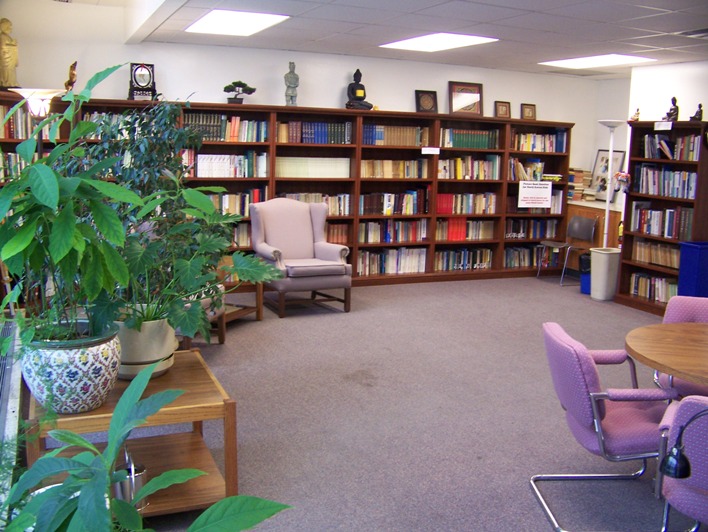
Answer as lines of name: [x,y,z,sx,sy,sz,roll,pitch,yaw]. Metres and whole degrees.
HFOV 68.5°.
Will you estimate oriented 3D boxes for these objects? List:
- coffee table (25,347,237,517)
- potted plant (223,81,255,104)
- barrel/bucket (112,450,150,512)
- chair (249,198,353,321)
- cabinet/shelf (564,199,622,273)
coffee table: [-1.100,0.869,2.728,0.907,0.516,0.925,-2,10,-20]
potted plant: [-1.571,-2.411,7.195,0.403,0.277,0.407,1,10,4]
barrel/bucket: [-0.987,0.940,2.298,0.145,0.228,0.133,-3,2,0]
chair: [-0.706,-0.178,6.514,1.131,1.380,1.232,-5,10,-41]
cabinet/shelf: [3.729,-0.455,8.081,0.474,1.095,1.092,-5,10,-34]
